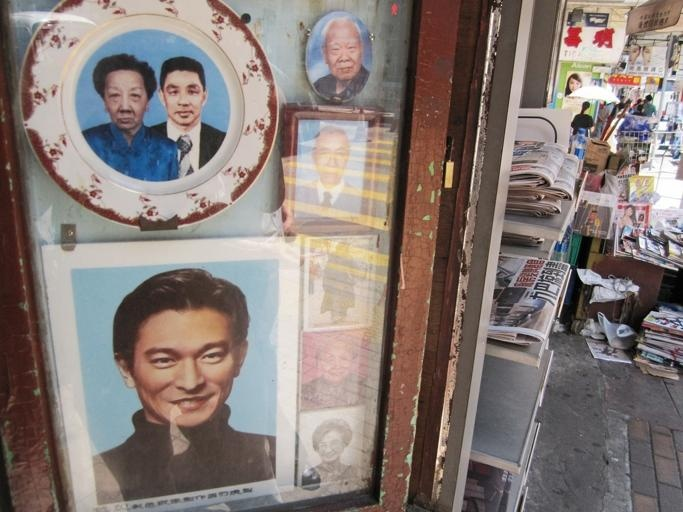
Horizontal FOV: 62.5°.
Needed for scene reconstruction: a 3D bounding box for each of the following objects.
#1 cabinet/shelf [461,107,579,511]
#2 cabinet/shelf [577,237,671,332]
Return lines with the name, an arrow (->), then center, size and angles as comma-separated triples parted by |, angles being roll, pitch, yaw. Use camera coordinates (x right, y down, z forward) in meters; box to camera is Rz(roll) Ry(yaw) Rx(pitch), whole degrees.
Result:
cabinet/shelf -> 0.610, 0.313, 1.955 | 0.289, 1.605, 0.855 | 6, 14, 21
cabinet/shelf -> 2.048, 0.205, 4.086 | 0.596, 0.672, 0.155 | 8, 4, 14
